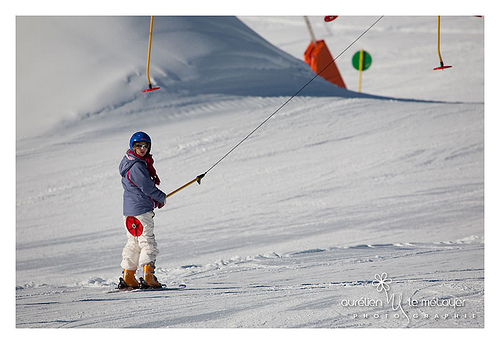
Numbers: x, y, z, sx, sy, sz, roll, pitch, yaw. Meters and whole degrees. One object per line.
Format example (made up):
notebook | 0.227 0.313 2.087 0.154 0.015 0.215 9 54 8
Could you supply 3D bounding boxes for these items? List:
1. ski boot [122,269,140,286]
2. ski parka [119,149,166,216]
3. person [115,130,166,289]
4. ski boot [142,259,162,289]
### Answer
ski boot | -1.621 1.451 12.410 0.211 0.245 0.130 -3 -22 -17
ski parka | -1.488 0.170 12.395 0.592 0.860 0.370 -8 -21 -7
person | -1.482 0.540 12.398 0.661 2.045 0.967 -6 -21 -15
ski boot | -1.356 1.423 12.426 0.241 0.344 0.368 -8 -19 -6
